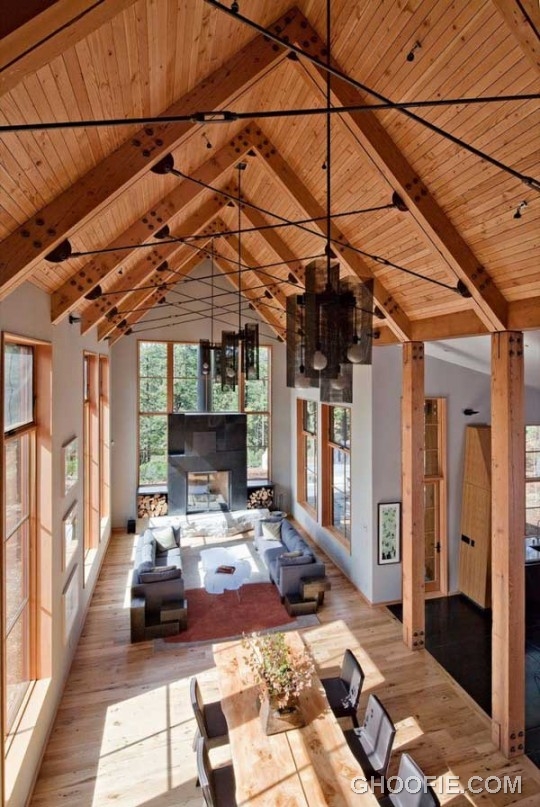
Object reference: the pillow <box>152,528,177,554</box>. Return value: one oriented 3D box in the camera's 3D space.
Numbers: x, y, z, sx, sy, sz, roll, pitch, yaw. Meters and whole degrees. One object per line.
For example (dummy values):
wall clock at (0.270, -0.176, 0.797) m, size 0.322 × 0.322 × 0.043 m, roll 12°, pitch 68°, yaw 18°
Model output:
pillow at (-1.697, 2.187, 9.390) m, size 0.093 × 0.234 × 0.277 m, roll -11°, pitch 0°, yaw 34°

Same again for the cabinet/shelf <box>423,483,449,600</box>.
cabinet/shelf at (2.380, 1.891, 8.453) m, size 0.344 × 1.688 × 0.253 m, roll 1°, pitch 5°, yaw 20°

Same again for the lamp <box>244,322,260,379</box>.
lamp at (-0.259, -0.691, 7.689) m, size 0.188 × 0.717 × 0.505 m, roll -1°, pitch 5°, yaw -5°

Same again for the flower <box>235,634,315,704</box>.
flower at (0.064, 1.941, 4.508) m, size 0.467 × 0.327 × 0.651 m, roll 2°, pitch 1°, yaw -8°

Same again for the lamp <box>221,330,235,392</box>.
lamp at (-0.571, -0.624, 8.116) m, size 0.236 × 0.757 × 0.327 m, roll -1°, pitch 5°, yaw -5°

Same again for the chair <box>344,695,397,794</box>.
chair at (0.678, 2.610, 4.416) m, size 0.378 × 0.667 × 0.391 m, roll 3°, pitch 15°, yaw -10°

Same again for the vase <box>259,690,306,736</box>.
vase at (0.088, 2.221, 4.192) m, size 0.296 × 0.232 × 0.261 m, roll -1°, pitch -4°, yaw -20°

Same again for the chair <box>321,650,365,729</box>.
chair at (0.576, 2.517, 5.110) m, size 0.372 × 0.617 × 0.389 m, roll 7°, pitch 16°, yaw -4°

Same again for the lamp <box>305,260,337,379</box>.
lamp at (0.314, -0.534, 3.621) m, size 0.210 × 0.730 × 0.507 m, roll 0°, pitch 5°, yaw 4°

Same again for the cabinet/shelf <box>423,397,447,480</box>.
cabinet/shelf at (2.375, 0.479, 8.430) m, size 0.296 × 1.140 × 0.189 m, roll -1°, pitch 5°, yaw -5°

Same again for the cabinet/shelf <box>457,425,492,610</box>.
cabinet/shelf at (2.886, 1.531, 8.156) m, size 0.332 × 2.366 × 0.856 m, roll -1°, pitch 5°, yaw -1°

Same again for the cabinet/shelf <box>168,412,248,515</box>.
cabinet/shelf at (-1.292, 1.145, 11.743) m, size 1.793 × 2.407 × 0.732 m, roll -1°, pitch 2°, yaw -16°

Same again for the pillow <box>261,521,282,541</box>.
pillow at (0.025, 2.197, 10.241) m, size 0.356 × 0.375 × 0.207 m, roll -1°, pitch -24°, yaw 8°

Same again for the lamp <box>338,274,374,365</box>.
lamp at (0.538, -0.530, 3.710) m, size 0.198 × 0.549 × 0.451 m, roll 0°, pitch 5°, yaw 8°
